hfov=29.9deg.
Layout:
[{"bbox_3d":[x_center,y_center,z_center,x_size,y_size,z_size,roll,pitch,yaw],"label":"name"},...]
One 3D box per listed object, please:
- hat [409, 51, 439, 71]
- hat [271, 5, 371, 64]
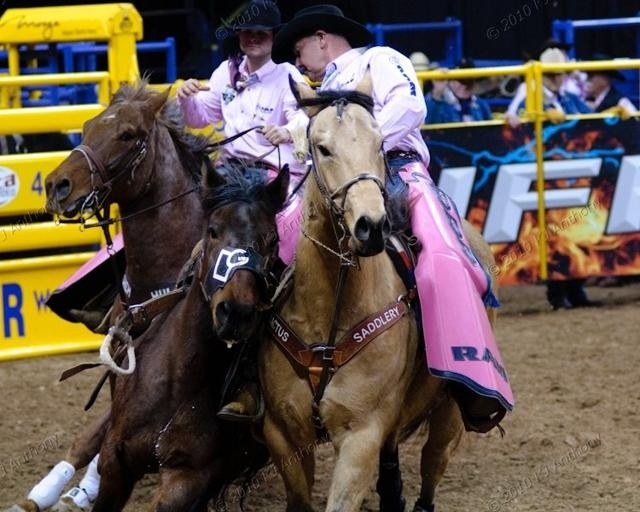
[{"bbox_3d":[1.145,-2.202,13.556,0.446,0.207,0.470,1,-1,8],"label":"hat"},{"bbox_3d":[-0.025,-1.507,7.954,0.456,0.192,0.389,-3,-21,-2],"label":"hat"}]
